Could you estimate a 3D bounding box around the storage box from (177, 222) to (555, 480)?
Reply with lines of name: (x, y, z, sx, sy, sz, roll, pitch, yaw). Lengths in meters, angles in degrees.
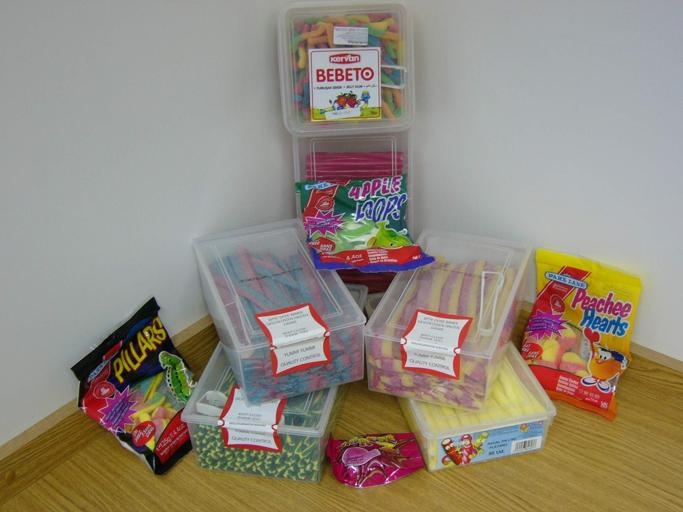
storage box: (0.002, 0.260, 1.429, 0.746, 0.221, 0.570, -10, 44, -11)
